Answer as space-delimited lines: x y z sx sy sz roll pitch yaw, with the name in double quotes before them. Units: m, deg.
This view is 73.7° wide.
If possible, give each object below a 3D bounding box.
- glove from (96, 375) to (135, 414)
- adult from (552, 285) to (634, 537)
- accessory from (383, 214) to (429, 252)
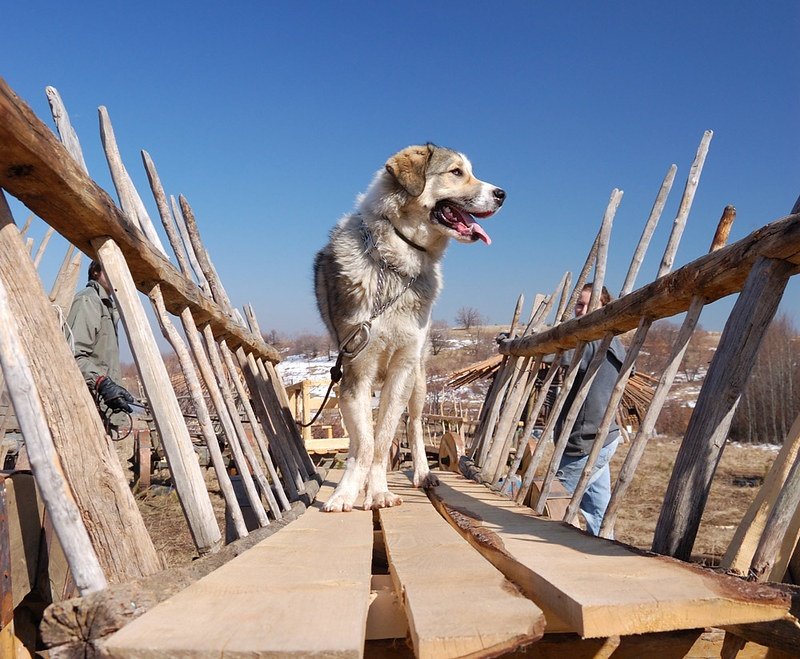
"glove" -2.467 0.603 4.575 0.249 0.160 0.402 40 0 41
"adult" 1.798 0.864 5.483 0.756 2.663 0.655 14 40 26
"accessory" 0.033 -0.666 3.833 0.285 0.074 0.236 38 9 -19
